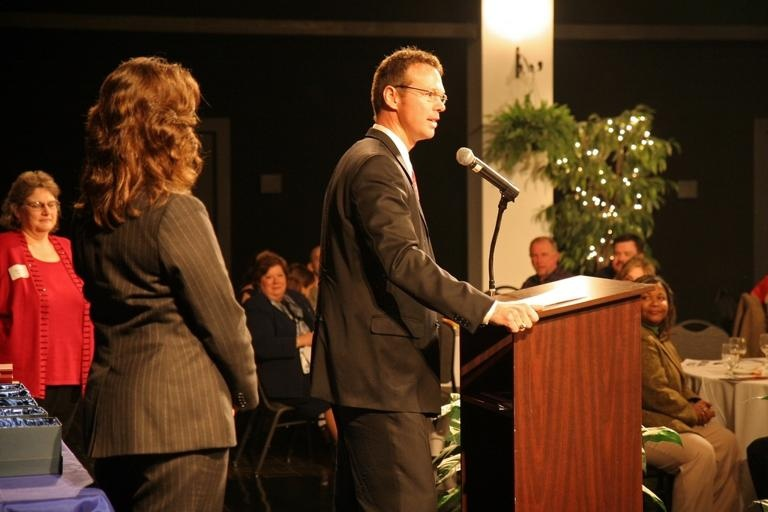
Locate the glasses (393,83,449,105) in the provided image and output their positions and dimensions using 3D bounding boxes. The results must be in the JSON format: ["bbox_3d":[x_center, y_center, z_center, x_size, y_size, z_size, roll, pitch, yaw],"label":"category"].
[{"bbox_3d":[0.182,-0.749,3.592,0.127,0.038,0.130,24,7,19],"label":"glasses"}]

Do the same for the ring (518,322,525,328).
[{"bbox_3d":[0.553,0.279,3.159,0.018,0.018,0.008,1,-24,-23],"label":"ring"}]

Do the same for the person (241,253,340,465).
[{"bbox_3d":[-0.648,0.837,6.233,0.753,1.619,0.678,-4,6,26],"label":"person"}]
